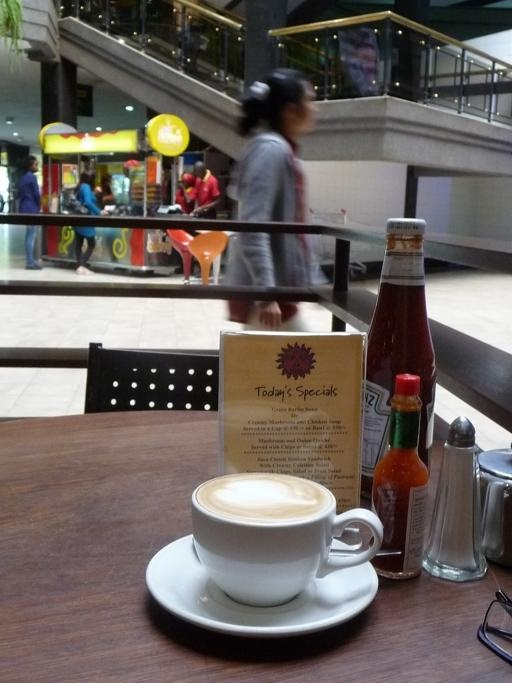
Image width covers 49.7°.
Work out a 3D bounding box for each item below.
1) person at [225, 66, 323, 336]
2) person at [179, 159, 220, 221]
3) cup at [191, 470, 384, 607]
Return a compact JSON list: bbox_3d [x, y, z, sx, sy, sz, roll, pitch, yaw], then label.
[{"bbox_3d":[0.037,-0.453,1.802,0.315,0.829,0.414,1,6,7],"label":"person"},{"bbox_3d":[-0.835,-2.202,8.137,0.469,0.802,0.793,-2,7,-25],"label":"person"},{"bbox_3d":[0.018,0.139,0.383,0.124,0.075,0.094,0,6,-13],"label":"cup"}]
